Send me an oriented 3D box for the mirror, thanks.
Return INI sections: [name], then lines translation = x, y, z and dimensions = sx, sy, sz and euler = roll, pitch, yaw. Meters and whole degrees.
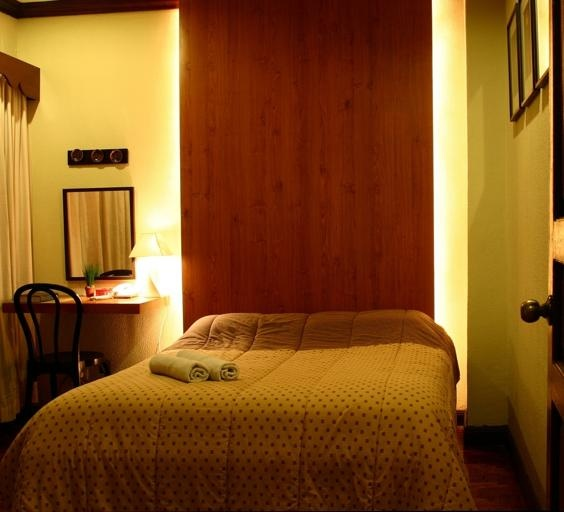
[mirror]
translation = -1.439, -0.176, 4.077
dimensions = 0.542, 0.828, 0.028
euler = -6, 34, -25
